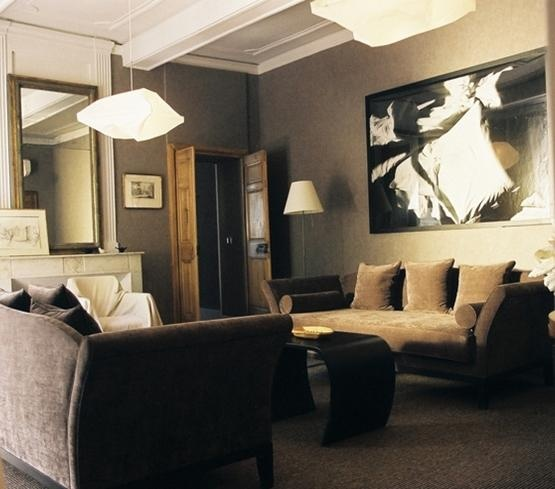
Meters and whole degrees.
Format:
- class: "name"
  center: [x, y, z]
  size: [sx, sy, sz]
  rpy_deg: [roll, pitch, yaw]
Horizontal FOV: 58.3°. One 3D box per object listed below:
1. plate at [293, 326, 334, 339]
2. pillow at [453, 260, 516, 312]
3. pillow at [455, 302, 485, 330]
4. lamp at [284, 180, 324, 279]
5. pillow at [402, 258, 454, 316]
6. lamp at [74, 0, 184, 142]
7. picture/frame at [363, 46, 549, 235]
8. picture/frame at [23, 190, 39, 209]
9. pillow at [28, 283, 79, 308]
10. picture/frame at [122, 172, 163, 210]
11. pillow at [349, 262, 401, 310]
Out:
- class: "plate"
  center: [0.226, 0.563, 3.196]
  size: [0.218, 0.047, 0.202]
  rpy_deg: [-1, -2, 8]
- class: "pillow"
  center: [1.600, 0.331, 3.846]
  size: [0.158, 0.413, 0.381]
  rpy_deg: [33, -19, -21]
- class: "pillow"
  center: [1.343, 0.500, 3.473]
  size: [0.189, 0.180, 0.136]
  rpy_deg: [-1, 1, 17]
- class: "lamp"
  center: [0.332, -0.190, 6.222]
  size: [0.462, 1.222, 0.821]
  rpy_deg: [-1, 1, 5]
- class: "pillow"
  center: [1.345, 0.393, 4.422]
  size: [0.149, 0.404, 0.419]
  rpy_deg: [25, -22, -37]
- class: "lamp"
  center: [-0.936, -0.964, 3.233]
  size: [0.501, 0.737, 0.469]
  rpy_deg: [-2, -2, -10]
- class: "picture/frame"
  center: [1.776, -1.007, 4.823]
  size: [0.044, 1.446, 2.085]
  rpy_deg: [0, -2, -41]
- class: "picture/frame"
  center: [-2.861, -0.518, 5.721]
  size: [0.214, 0.291, 0.029]
  rpy_deg: [-2, 1, -39]
- class: "pillow"
  center: [-1.253, 0.295, 2.750]
  size: [0.260, 0.080, 0.263]
  rpy_deg: [5, 6, -14]
- class: "picture/frame"
  center: [-1.797, -0.698, 6.474]
  size: [0.513, 0.436, 0.050]
  rpy_deg: [0, -4, -39]
- class: "pillow"
  center: [0.953, 0.418, 4.839]
  size: [0.436, 0.407, 0.166]
  rpy_deg: [-1, -16, 45]
